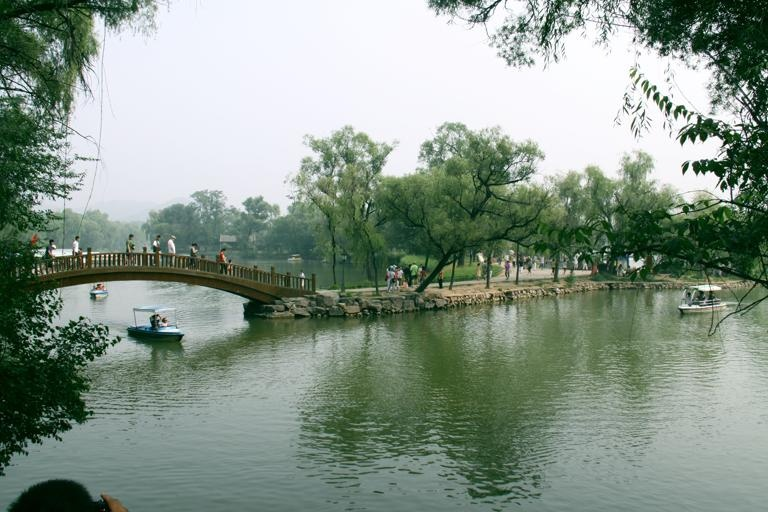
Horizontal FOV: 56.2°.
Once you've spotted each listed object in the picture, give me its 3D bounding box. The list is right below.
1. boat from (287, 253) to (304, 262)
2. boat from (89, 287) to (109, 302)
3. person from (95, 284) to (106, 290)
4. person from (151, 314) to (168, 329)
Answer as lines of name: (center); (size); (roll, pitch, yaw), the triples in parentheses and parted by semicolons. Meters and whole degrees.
boat: (-15.171, 0.167, 123.058); (4.240, 1.486, 1.192); (-1, 3, 41)
boat: (-20.260, 2.849, 50.966); (0.901, 0.671, 2.711); (2, 8, -16)
person: (-21.001, 2.240, 53.118); (0.456, 0.433, 0.764); (10, 3, -7)
person: (-11.063, 3.079, 35.184); (0.723, 0.663, 0.960); (5, 10, 21)
